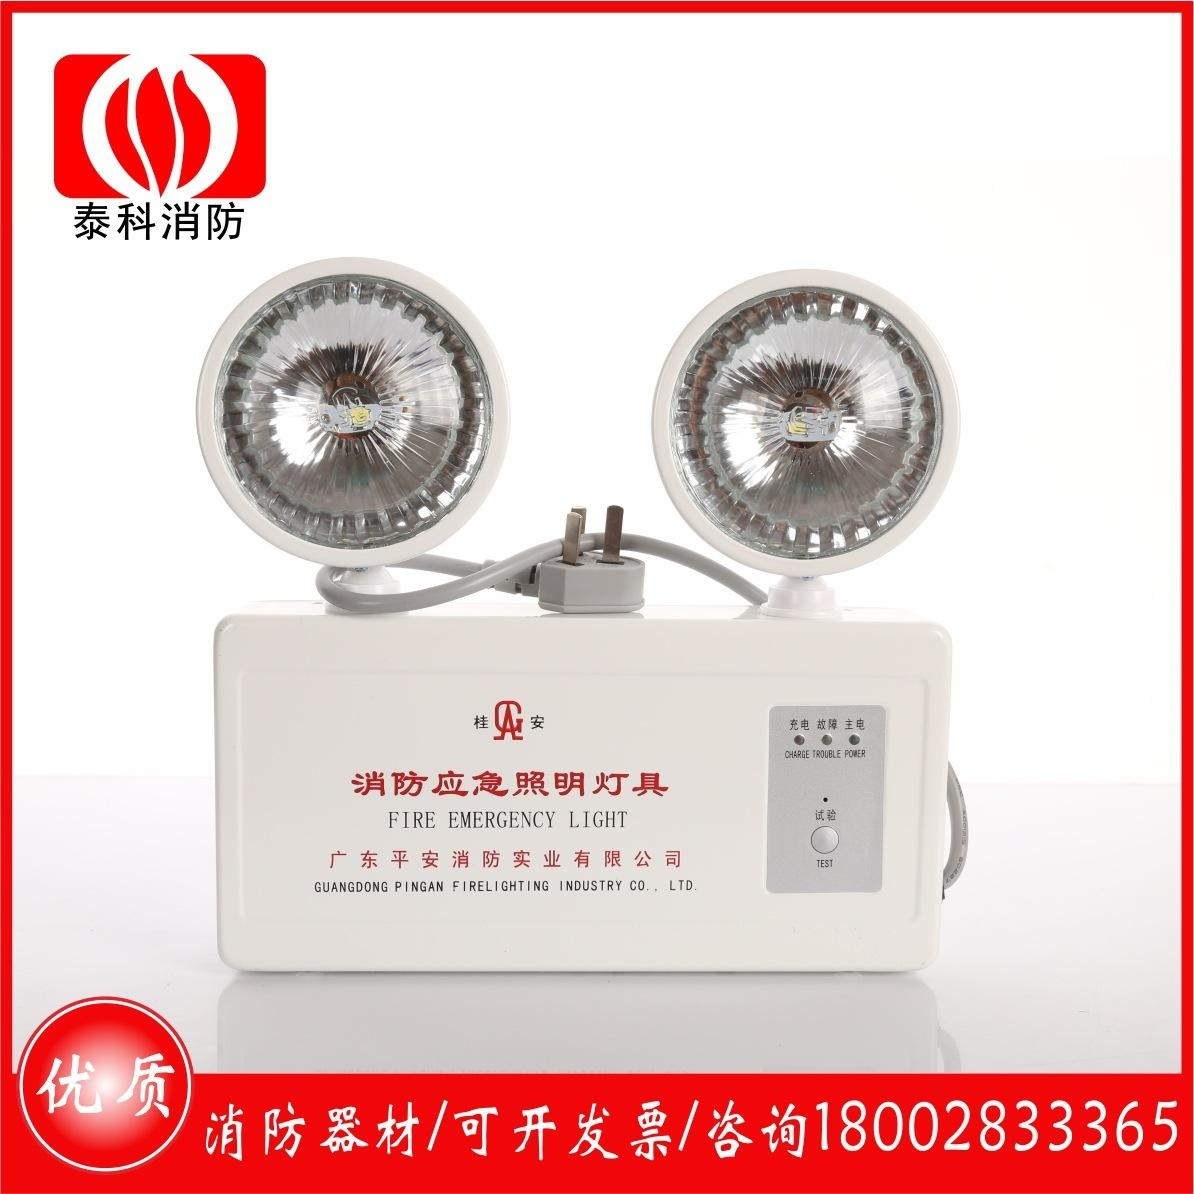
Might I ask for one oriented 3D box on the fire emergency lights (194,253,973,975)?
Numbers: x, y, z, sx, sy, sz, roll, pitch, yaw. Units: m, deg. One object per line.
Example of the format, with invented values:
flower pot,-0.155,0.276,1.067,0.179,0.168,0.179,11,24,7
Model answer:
fire emergency lights,-0.036,0.077,1.695,1.104,0.264,0.824,0,-79,0
